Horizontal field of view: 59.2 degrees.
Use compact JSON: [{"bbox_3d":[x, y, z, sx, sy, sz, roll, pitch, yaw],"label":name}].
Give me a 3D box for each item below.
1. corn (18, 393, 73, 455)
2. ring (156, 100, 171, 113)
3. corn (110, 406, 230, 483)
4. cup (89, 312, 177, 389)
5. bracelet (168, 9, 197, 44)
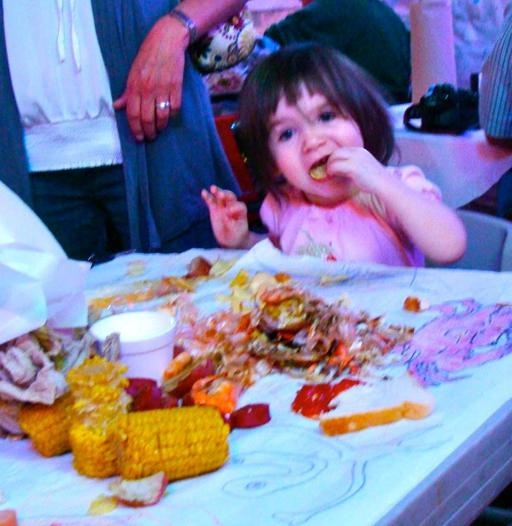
[{"bbox_3d":[-0.172,0.133,0.376,0.039,0.050,0.045,13,14,42],"label":"corn"},{"bbox_3d":[-0.212,-0.360,1.029,0.023,0.017,0.020,0,11,24],"label":"ring"},{"bbox_3d":[-0.059,0.129,0.325,0.077,0.037,0.034,-8,13,-8],"label":"corn"},{"bbox_3d":[-0.127,0.076,0.466,0.055,0.061,0.072,-4,9,-7],"label":"cup"},{"bbox_3d":[-0.163,-0.525,1.005,0.015,0.061,0.054,-34,49,-13],"label":"bracelet"}]
